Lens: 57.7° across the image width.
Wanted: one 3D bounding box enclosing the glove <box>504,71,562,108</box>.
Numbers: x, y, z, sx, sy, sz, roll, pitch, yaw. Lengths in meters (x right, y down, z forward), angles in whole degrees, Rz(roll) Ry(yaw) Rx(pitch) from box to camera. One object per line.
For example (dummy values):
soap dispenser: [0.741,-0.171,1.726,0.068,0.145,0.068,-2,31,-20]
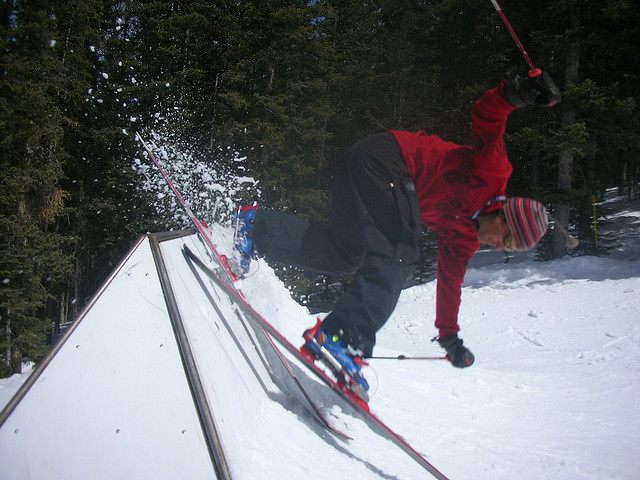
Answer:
glove: [2.299,-1.606,6.220,0.484,0.410,0.238,12,28,29]
